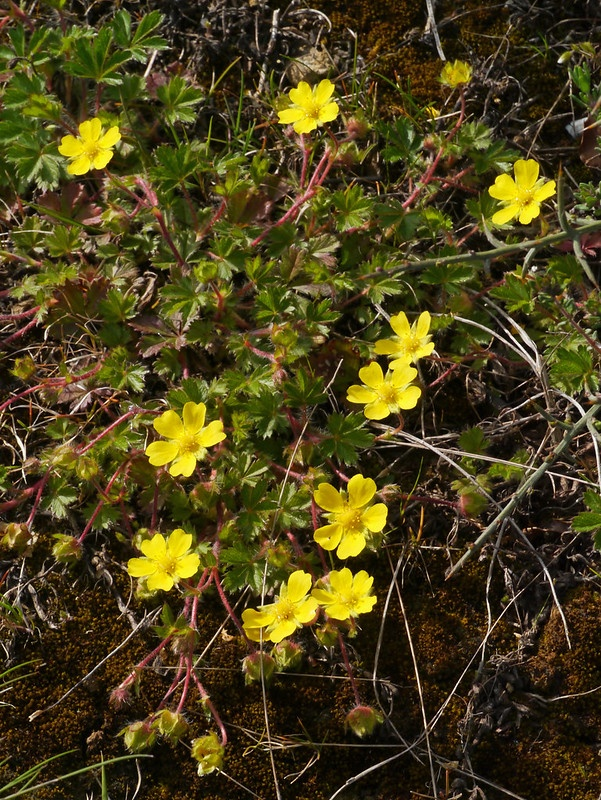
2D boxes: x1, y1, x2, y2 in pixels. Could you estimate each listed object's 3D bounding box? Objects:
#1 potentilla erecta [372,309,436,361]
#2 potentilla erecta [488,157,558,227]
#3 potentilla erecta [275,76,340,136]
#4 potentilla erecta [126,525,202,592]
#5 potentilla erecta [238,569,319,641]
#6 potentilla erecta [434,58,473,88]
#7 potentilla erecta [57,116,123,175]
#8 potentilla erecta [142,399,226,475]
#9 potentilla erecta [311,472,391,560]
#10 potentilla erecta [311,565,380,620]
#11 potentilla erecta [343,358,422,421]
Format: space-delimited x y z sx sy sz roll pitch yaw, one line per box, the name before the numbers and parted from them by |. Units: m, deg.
potentilla erecta | 0.368 -0.210 2.368 0.213 0.206 0.064 -28 55 48
potentilla erecta | 0.731 -0.662 2.348 0.246 0.243 0.200 9 42 32
potentilla erecta | 0.023 -0.968 2.351 0.191 0.168 0.160 -14 35 4
potentilla erecta | -0.389 0.466 2.049 0.199 0.081 0.193 4 79 11
potentilla erecta | -0.063 0.605 2.020 0.229 0.069 0.243 -23 34 9
potentilla erecta | 0.531 -1.129 2.435 0.093 0.085 0.161 -10 34 10
potentilla erecta | -0.675 -0.833 2.307 0.200 0.183 0.086 -3 19 13
potentilla erecta | -0.353 0.109 2.184 0.237 0.230 0.079 -34 -3 5
potentilla erecta | 0.136 0.346 2.098 0.227 0.213 0.147 -19 35 -3
potentilla erecta | 0.132 0.567 2.024 0.174 0.064 0.173 -20 32 -17
potentilla erecta | 0.278 -0.037 2.253 0.227 0.144 0.175 -35 38 -26
